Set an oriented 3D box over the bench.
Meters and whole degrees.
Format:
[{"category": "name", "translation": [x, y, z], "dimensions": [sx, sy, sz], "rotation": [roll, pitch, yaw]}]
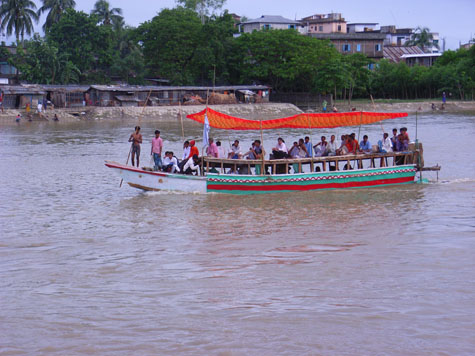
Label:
[{"category": "bench", "translation": [2.366, -0.547, 32.012], "dimensions": [5.446, 0.680, 0.843], "rotation": [-2, 0, -7]}]
